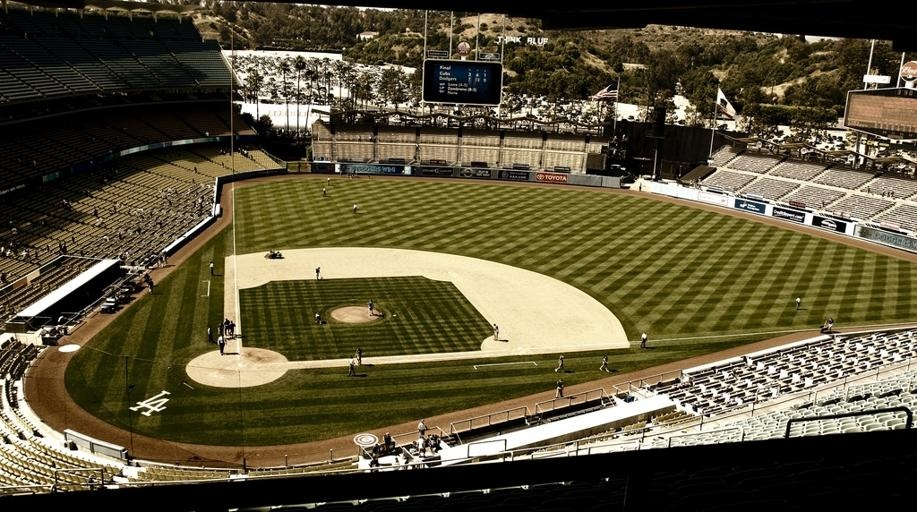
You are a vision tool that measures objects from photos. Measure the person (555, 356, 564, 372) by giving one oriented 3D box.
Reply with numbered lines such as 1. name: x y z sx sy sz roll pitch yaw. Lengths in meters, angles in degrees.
1. person: 7.532 7.930 51.365 0.954 1.306 0.389 -8 46 -6

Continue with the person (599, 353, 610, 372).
1. person: 10.860 7.920 51.798 1.155 1.472 0.561 -6 29 6
